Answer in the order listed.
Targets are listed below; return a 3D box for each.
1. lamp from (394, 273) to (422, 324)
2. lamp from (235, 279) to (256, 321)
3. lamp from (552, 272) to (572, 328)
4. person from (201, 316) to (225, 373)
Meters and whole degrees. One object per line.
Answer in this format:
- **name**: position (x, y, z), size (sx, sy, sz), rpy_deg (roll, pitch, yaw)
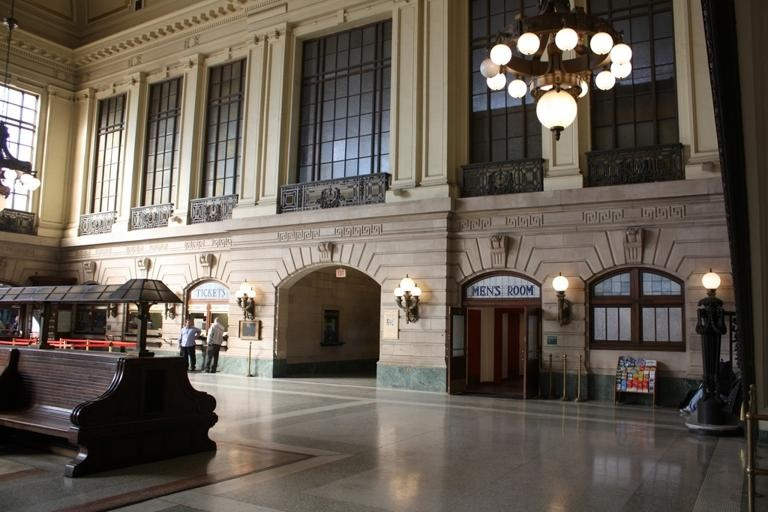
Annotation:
- **lamp**: position (0.700, 1.266, 17.058), size (0.755, 1.393, 0.388), rpy_deg (-1, -7, 19)
- **lamp**: position (-4.487, 1.498, 19.640), size (0.567, 1.278, 0.340), rpy_deg (-2, -7, 25)
- **lamp**: position (4.645, 1.151, 15.512), size (0.446, 1.389, 0.474), rpy_deg (-1, -7, 16)
- **person**: position (-5.620, 3.085, 19.866), size (0.552, 1.697, 1.019), rpy_deg (3, -6, -15)
